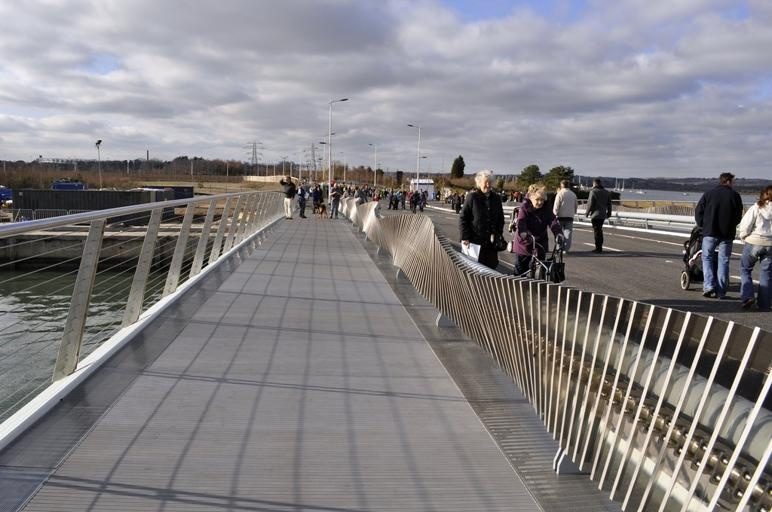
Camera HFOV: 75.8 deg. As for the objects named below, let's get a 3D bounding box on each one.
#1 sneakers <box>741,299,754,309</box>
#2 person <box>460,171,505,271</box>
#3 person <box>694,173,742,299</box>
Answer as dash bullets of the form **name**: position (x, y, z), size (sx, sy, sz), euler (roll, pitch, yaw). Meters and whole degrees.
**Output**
- **sneakers**: position (6.192, 0.834, 8.462), size (0.211, 0.183, 0.113), euler (1, 9, -22)
- **person**: position (1.443, -0.509, 7.305), size (0.708, 1.458, 0.538), euler (5, 9, 1)
- **person**: position (6.257, -0.369, 9.355), size (0.701, 2.361, 0.799), euler (4, 9, -3)
